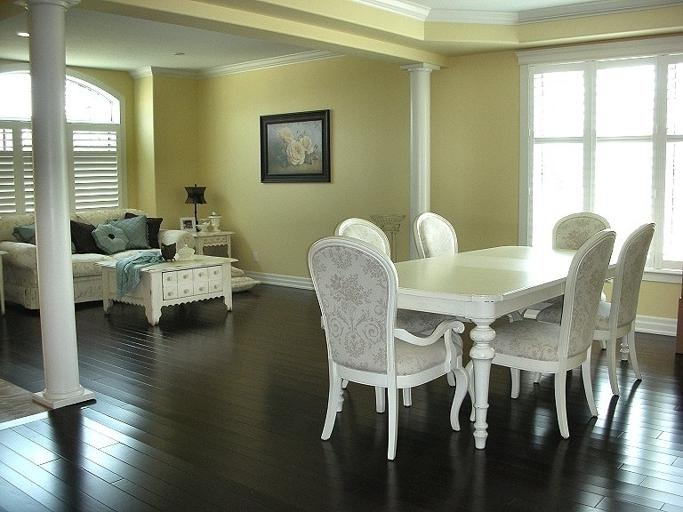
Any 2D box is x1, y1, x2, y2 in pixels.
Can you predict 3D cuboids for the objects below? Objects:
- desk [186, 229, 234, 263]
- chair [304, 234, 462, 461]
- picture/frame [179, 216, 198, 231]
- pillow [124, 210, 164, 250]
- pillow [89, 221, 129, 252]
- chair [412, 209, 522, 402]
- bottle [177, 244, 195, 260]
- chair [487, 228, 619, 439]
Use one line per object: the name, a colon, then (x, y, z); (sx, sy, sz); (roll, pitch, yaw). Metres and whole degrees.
desk: (-1.926, -0.185, 7.610); (0.400, 0.475, 0.513); (6, 9, 44)
chair: (0.249, 0.467, 2.775); (0.830, 1.179, 0.374); (-1, 9, -4)
picture/frame: (-2.267, -0.491, 7.745); (0.269, 0.240, 0.029); (-3, 6, -14)
pillow: (-2.661, -0.360, 7.225); (0.519, 0.514, 0.152); (9, -5, -35)
pillow: (-3.018, -0.222, 6.814); (0.377, 0.373, 0.120); (8, -36, -45)
chair: (1.249, 0.056, 4.444); (0.855, 1.484, 0.918); (-11, 12, -43)
bottle: (-1.760, -0.059, 5.935); (0.153, 0.129, 0.154); (2, 3, 5)
chair: (1.245, 0.415, 3.085); (0.583, 1.176, 0.732); (4, 10, 27)
